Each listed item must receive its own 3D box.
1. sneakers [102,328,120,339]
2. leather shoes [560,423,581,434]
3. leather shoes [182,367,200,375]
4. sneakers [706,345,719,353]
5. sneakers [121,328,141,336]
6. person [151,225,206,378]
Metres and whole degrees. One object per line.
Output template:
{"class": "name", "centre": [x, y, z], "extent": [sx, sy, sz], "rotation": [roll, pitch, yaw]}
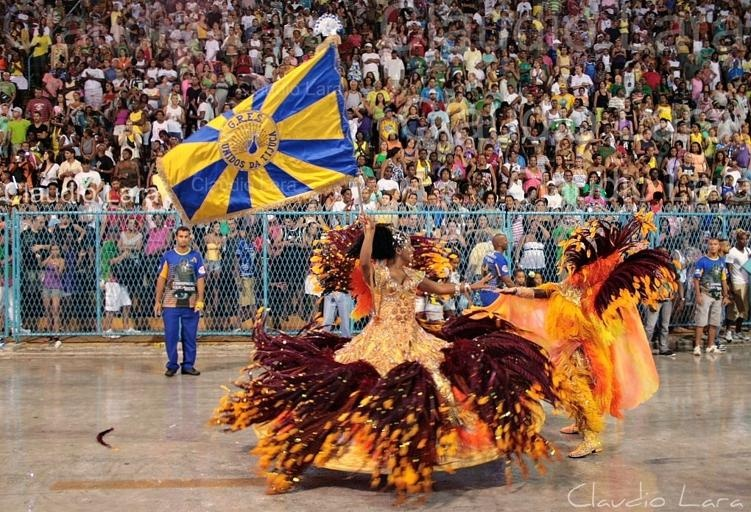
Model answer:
{"class": "sneakers", "centre": [-4.967, 1.454, 21.412], "extent": [0.304, 0.207, 0.149], "rotation": [-2, 12, -9]}
{"class": "leather shoes", "centre": [2.800, 2.424, 16.042], "extent": [0.302, 0.257, 0.133], "rotation": [-2, -11, 23]}
{"class": "leather shoes", "centre": [-3.093, 1.923, 19.075], "extent": [0.305, 0.105, 0.110], "rotation": [0, -2, 11]}
{"class": "sneakers", "centre": [6.346, 1.725, 21.153], "extent": [0.232, 0.091, 0.127], "rotation": [-2, 5, -20]}
{"class": "sneakers", "centre": [-4.595, 1.431, 21.430], "extent": [0.339, 0.154, 0.165], "rotation": [-2, 12, -12]}
{"class": "person", "centre": [-3.259, 0.749, 19.075], "extent": [0.814, 2.498, 0.836], "rotation": [-2, 12, -11]}
